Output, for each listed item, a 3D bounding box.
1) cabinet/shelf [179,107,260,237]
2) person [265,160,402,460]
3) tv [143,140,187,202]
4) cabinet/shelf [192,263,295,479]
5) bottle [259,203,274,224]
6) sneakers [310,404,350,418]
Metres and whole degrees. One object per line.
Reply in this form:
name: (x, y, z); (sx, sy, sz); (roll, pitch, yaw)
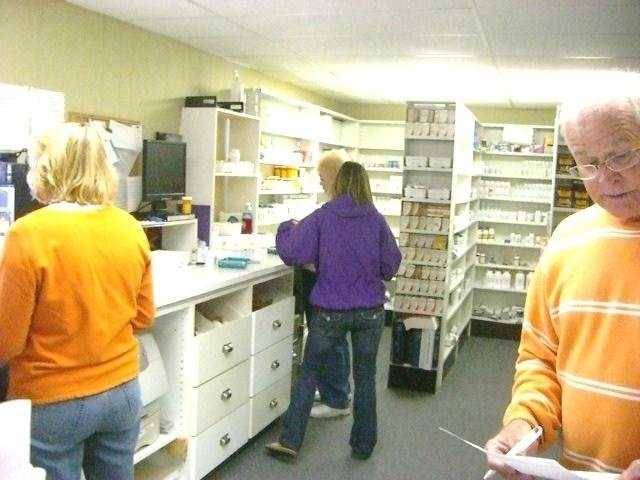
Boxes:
cabinet/shelf: (-0.873, -0.579, 4.774); (0.546, 1.126, 0.878); (6, 7, 21)
person: (0.116, 0.479, 3.586); (0.845, 2.007, 0.370); (3, 7, -4)
tv: (-1.185, -0.521, 3.990); (0.060, 0.406, 0.472); (0, 6, 22)
cabinet/shelf: (-0.518, 0.874, 3.441); (0.459, 1.113, 1.213); (2, 8, 23)
bottle: (-0.560, -0.260, 5.434); (0.044, 0.165, 0.178); (3, 3, 13)
sneakers: (0.068, 1.359, 4.285); (0.333, 0.144, 0.123); (3, -5, -8)
